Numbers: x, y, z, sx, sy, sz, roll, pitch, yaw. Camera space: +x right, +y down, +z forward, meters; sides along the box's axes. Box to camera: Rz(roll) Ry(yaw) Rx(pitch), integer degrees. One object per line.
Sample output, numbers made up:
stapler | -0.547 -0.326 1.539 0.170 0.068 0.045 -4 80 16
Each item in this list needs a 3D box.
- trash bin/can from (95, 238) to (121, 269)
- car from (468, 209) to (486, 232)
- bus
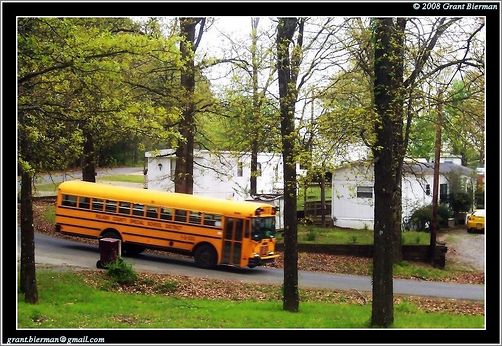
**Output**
trash bin/can | -6.549 3.550 28.841 1.195 1.531 0.954 5 26 6
car | 15.405 3.290 42.870 0.898 0.740 2.164 0 2 8
bus | -4.605 2.656 32.831 11.119 3.786 3.393 6 3 18
